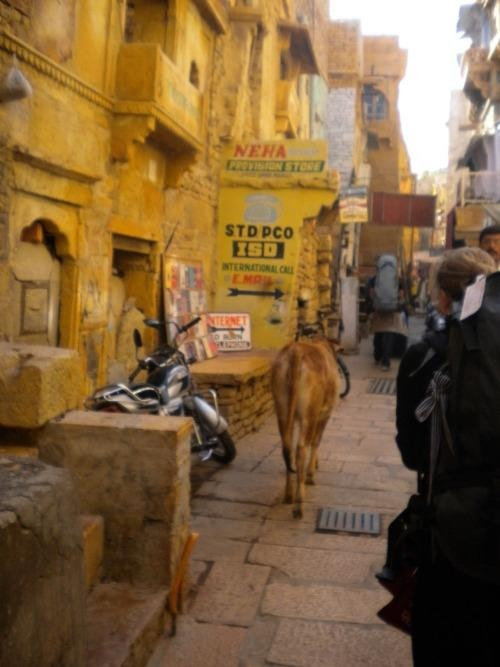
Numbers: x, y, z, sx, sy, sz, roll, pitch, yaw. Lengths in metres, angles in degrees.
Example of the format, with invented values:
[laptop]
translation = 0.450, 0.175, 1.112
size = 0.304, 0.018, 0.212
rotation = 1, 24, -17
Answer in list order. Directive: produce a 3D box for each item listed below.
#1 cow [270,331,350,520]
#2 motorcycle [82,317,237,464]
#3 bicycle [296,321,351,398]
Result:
[cow]
translation = 0.579, 0.732, 5.272
size = 0.528, 1.447, 2.362
rotation = 5, 5, 14
[motorcycle]
translation = -0.837, 0.658, 4.495
size = 0.748, 1.146, 1.615
rotation = -9, 1, 28
[bicycle]
translation = 1.279, 0.190, 9.343
size = 0.592, 1.085, 2.041
rotation = 0, 32, 5
